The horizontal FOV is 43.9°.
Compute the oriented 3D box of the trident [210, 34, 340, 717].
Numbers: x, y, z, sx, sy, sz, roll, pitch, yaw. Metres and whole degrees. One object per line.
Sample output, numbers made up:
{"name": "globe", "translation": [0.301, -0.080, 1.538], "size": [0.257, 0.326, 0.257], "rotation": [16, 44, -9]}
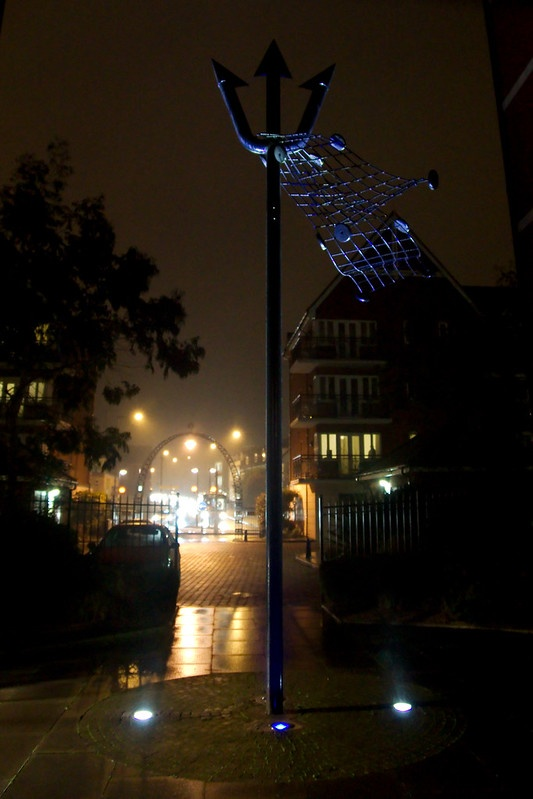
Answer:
{"name": "trident", "translation": [0.079, -0.284, 6.321], "size": [1.272, 6.418, 0.203], "rotation": [-1, -4, 4]}
